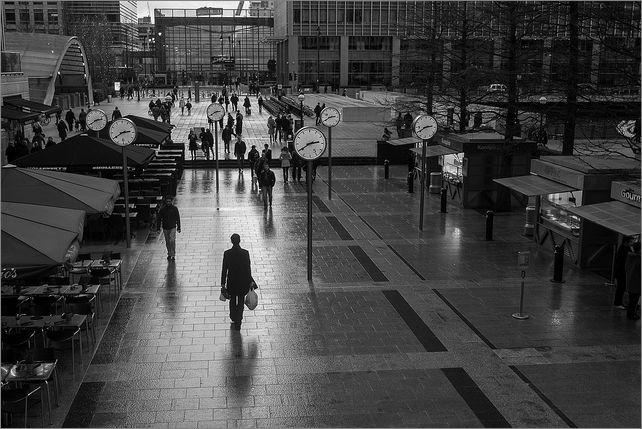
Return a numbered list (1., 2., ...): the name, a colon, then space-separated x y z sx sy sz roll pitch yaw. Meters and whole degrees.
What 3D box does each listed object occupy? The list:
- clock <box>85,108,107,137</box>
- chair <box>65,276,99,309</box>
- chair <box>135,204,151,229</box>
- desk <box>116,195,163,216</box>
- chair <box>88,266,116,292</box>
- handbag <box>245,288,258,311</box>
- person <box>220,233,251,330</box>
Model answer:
1. clock: -9.932 -4.120 26.389 0.712 1.255 1.510 -4 16 -14
2. chair: -5.687 1.828 14.103 0.908 0.806 0.643 2 3 2
3. chair: -6.649 -0.011 22.220 0.628 0.979 0.688 2 47 -11
4. desk: -7.091 -0.484 23.081 1.226 0.376 0.816 1 27 -3
5. chair: -5.802 1.656 15.660 0.562 0.784 0.575 3 29 -4
6. handbag: -1.650 2.014 13.952 0.268 0.516 0.291 -2 15 -8
7. person: -1.970 1.574 14.157 0.779 2.285 0.765 -2 15 -9
